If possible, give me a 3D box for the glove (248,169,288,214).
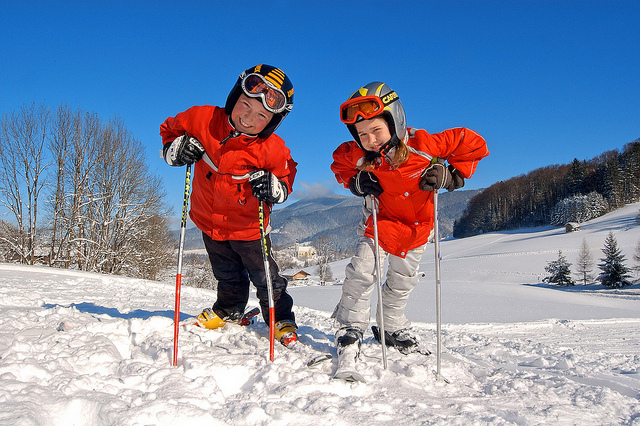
[{"bbox_3d":[-0.741,-0.378,7.245,0.310,0.508,0.677,-36,-32,-3],"label":"glove"}]

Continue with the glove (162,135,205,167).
[{"bbox_3d":[-2.123,-0.913,7.528,0.671,0.395,0.825,-8,0,7],"label":"glove"}]

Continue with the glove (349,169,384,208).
[{"bbox_3d":[0.680,-0.368,7.351,0.341,0.449,0.189,2,5,28],"label":"glove"}]

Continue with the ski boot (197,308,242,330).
[{"bbox_3d":[-1.662,1.692,7.905,0.490,0.212,0.264,23,-16,-21],"label":"ski boot"}]

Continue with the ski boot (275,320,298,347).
[{"bbox_3d":[-0.558,1.800,7.735,0.377,0.421,0.458,-2,-9,-24],"label":"ski boot"}]
